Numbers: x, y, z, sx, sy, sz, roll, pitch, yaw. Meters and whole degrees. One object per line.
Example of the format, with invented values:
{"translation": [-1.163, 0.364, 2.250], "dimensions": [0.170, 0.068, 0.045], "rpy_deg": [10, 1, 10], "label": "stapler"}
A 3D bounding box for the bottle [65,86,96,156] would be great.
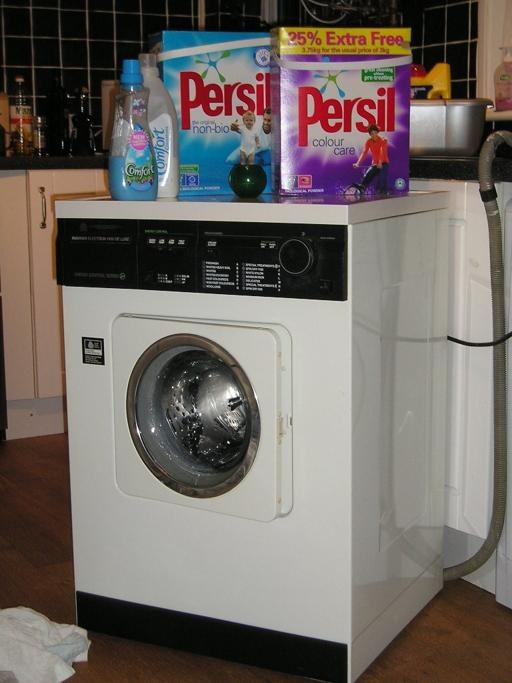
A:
{"translation": [-0.751, -0.940, 2.607], "dimensions": [0.118, 0.298, 0.510], "rpy_deg": [-6, 15, -13], "label": "bottle"}

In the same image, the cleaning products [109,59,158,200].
{"translation": [-0.218, -0.364, 1.054], "dimensions": [0.082, 0.234, 0.157], "rpy_deg": [-5, 14, -8], "label": "cleaning products"}

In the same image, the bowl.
{"translation": [0.437, -0.494, 1.413], "dimensions": [0.165, 0.136, 0.187], "rpy_deg": [5, 16, 26], "label": "bowl"}

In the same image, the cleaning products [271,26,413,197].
{"translation": [0.151, -0.412, 1.087], "dimensions": [0.293, 0.362, 0.127], "rpy_deg": [-1, 9, -2], "label": "cleaning products"}
